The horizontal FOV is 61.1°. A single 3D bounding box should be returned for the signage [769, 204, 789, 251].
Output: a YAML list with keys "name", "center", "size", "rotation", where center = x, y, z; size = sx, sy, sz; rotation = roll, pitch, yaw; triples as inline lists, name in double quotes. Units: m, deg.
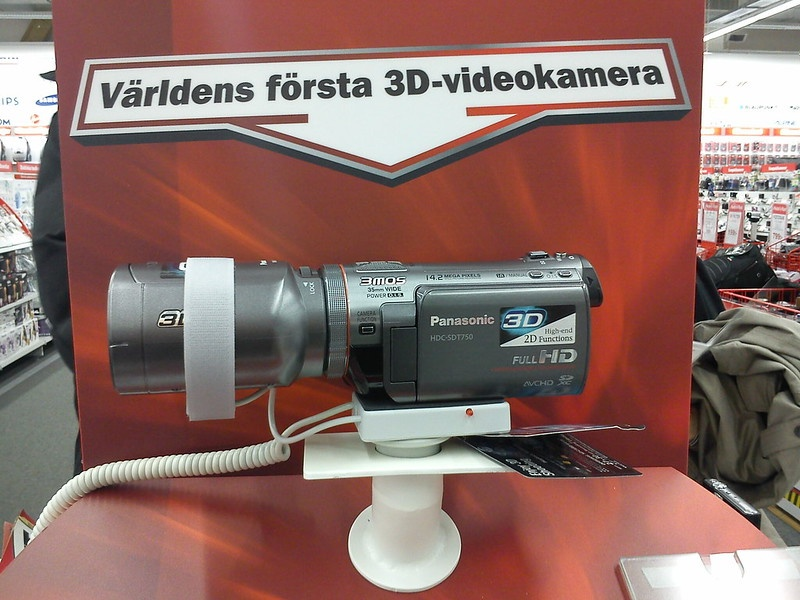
- name: "signage"
  center: [2.266, -0.450, 4.084]
  size: [0.087, 0.247, 0.031]
  rotation: [5, 3, 10]

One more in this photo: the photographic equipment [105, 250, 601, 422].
- name: "photographic equipment"
  center: [-0.055, 0.042, 1.128]
  size: [0.748, 0.290, 0.229]
  rotation: [-4, 16, -12]

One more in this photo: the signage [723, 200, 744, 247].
- name: "signage"
  center: [2.258, -0.512, 4.576]
  size: [0.092, 0.289, 0.127]
  rotation: [-9, 14, -28]
